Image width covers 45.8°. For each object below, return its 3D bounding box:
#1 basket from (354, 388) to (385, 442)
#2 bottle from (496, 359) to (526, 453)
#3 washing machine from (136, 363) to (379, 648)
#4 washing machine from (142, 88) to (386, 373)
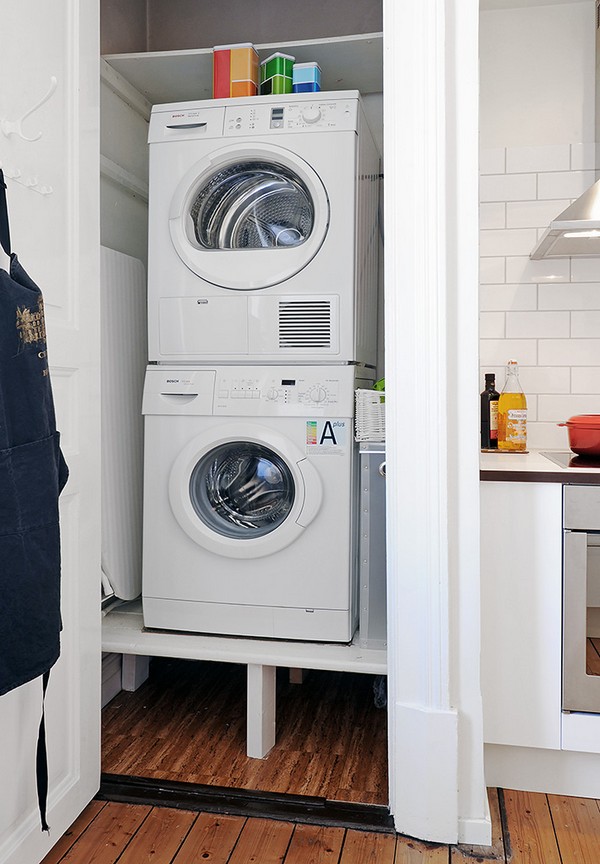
[{"bbox_3d":[0.182,-0.043,1.847,0.071,0.136,0.068,-1,6,3],"label":"basket"},{"bbox_3d":[0.610,-0.075,2.053,0.079,0.249,0.143,1,7,15],"label":"bottle"},{"bbox_3d":[-0.053,0.196,2.245,0.675,0.989,0.685,-1,-3,13],"label":"washing machine"},{"bbox_3d":[-0.080,-0.575,2.184,0.646,0.733,0.615,3,8,23],"label":"washing machine"}]
